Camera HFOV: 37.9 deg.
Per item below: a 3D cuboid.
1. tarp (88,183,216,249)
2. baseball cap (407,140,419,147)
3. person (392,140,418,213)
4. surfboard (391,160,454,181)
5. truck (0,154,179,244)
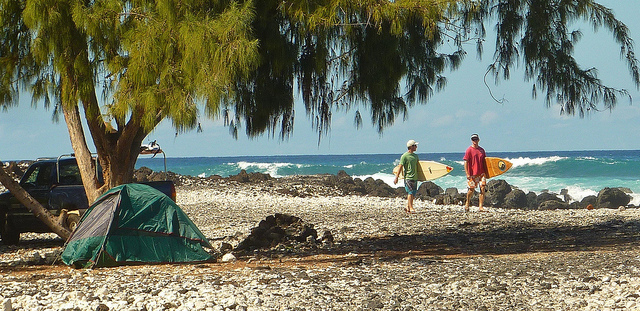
[{"bbox_3d":[-5.897,2.136,34.039,2.756,1.233,2.610,9,0,-23],"label":"tarp"},{"bbox_3d":[2.842,-0.356,28.715,0.276,0.120,0.191,-5,3,-9],"label":"baseball cap"},{"bbox_3d":[3.640,0.948,38.936,0.829,3.147,1.146,-2,8,-5],"label":"person"},{"bbox_3d":[5.007,0.655,41.526,1.469,0.955,1.078,-2,9,-5],"label":"surfboard"},{"bbox_3d":[-8.762,1.802,34.831,6.870,3.782,3.563,0,-1,9],"label":"truck"}]
